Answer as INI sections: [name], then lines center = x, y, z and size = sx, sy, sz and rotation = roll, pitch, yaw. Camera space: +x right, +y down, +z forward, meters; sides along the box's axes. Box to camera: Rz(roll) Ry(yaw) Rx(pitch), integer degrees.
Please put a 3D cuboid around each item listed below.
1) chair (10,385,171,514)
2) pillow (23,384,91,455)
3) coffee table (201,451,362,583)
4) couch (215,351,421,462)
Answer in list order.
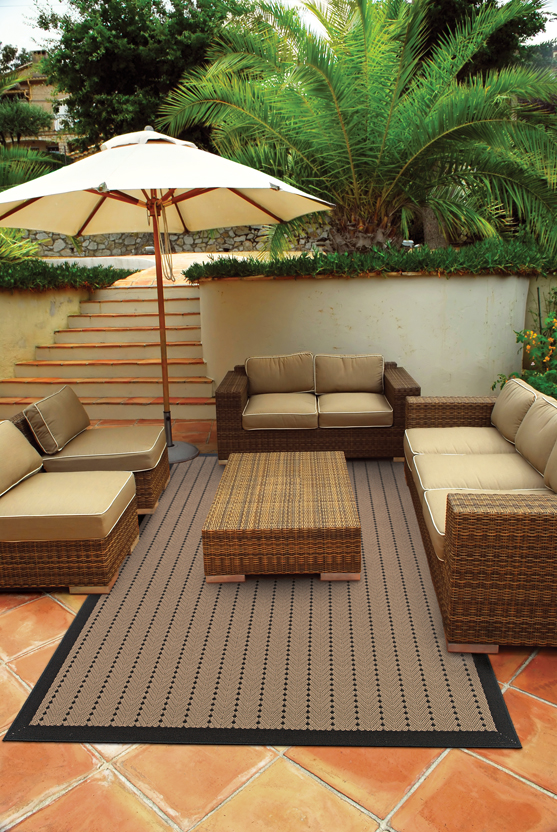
[chair]
center = -1.151, 0.259, 4.162
size = 1.102, 0.852, 1.174
rotation = 2, 14, -3
[pillow]
center = -1.464, 0.023, 3.794
size = 0.393, 0.424, 0.459
rotation = 1, 13, -4
[coffee table]
center = -0.002, 0.515, 3.214
size = 0.820, 0.514, 1.115
rotation = 1, 11, -8
[couch]
center = 0.300, -0.098, 4.794
size = 1.852, 0.913, 1.091
rotation = 2, 12, -5
